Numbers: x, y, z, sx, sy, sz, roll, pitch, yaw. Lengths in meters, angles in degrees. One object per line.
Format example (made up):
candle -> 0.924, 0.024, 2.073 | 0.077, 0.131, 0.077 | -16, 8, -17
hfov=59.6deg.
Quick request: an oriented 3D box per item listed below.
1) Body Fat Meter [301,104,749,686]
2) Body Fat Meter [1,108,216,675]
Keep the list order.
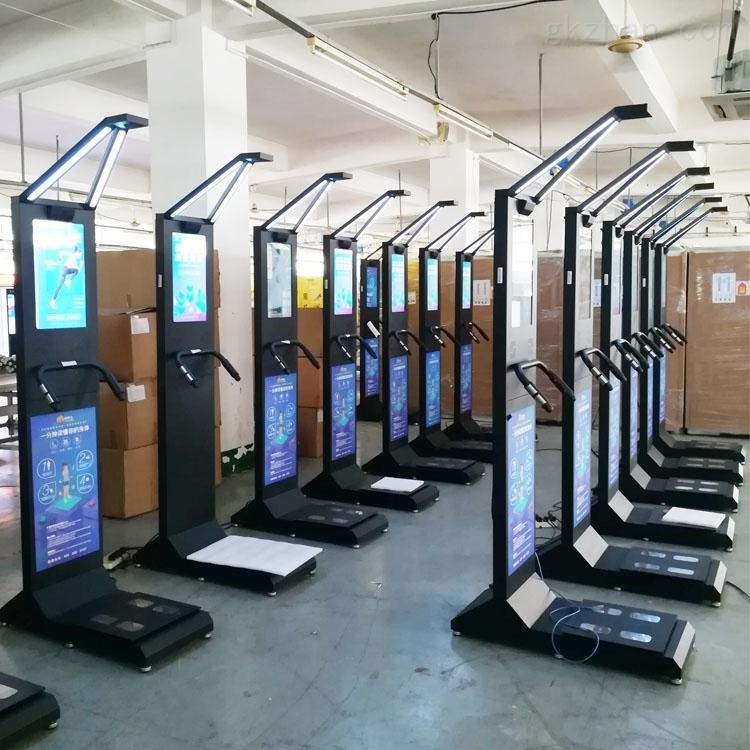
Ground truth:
Body Fat Meter -> 1.024, 0.018, 3.168 | 1.021, 2.415, 1.161 | 3, 8, 28
Body Fat Meter -> -1.358, 0.042, 3.000 | 0.882, 2.336, 0.539 | 4, 9, 37
